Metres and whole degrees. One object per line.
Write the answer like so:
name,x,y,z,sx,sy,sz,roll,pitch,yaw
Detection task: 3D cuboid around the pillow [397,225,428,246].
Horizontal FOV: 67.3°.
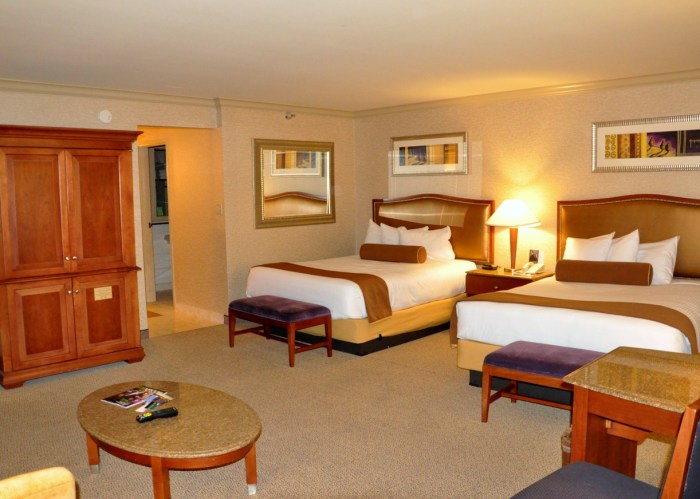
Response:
pillow,0.869,-0.188,7.323,0.498,0.132,0.377,1,32,15

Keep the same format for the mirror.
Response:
mirror,-0.814,-0.990,7.856,0.071,1.260,1.861,10,13,34

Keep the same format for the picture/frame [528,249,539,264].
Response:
picture/frame,2.307,0.084,6.603,0.027,0.136,0.219,8,0,-29

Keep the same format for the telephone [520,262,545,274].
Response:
telephone,2.211,0.227,6.396,0.197,0.049,0.187,-9,5,-35

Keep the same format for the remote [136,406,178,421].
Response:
remote,-1.278,1.092,3.500,0.208,0.042,0.096,-3,7,-34

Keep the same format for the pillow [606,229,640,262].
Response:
pillow,2.985,-0.024,5.719,0.123,0.332,0.410,35,-28,-29

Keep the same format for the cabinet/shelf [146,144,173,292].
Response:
cabinet/shelf,-3.311,-0.480,9.107,0.417,2.594,0.804,-6,14,-19

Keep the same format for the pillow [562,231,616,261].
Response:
pillow,2.736,-0.037,5.976,0.121,0.244,0.433,32,-20,-30

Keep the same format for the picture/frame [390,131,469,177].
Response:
picture/frame,1.192,-1.408,7.658,1.048,0.383,0.036,3,6,34

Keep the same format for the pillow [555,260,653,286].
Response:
pillow,2.646,0.237,5.485,1.021,0.217,0.284,1,1,34

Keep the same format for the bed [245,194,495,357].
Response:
bed,0.297,0.312,6.895,2.784,1.384,2.770,-6,7,-45
